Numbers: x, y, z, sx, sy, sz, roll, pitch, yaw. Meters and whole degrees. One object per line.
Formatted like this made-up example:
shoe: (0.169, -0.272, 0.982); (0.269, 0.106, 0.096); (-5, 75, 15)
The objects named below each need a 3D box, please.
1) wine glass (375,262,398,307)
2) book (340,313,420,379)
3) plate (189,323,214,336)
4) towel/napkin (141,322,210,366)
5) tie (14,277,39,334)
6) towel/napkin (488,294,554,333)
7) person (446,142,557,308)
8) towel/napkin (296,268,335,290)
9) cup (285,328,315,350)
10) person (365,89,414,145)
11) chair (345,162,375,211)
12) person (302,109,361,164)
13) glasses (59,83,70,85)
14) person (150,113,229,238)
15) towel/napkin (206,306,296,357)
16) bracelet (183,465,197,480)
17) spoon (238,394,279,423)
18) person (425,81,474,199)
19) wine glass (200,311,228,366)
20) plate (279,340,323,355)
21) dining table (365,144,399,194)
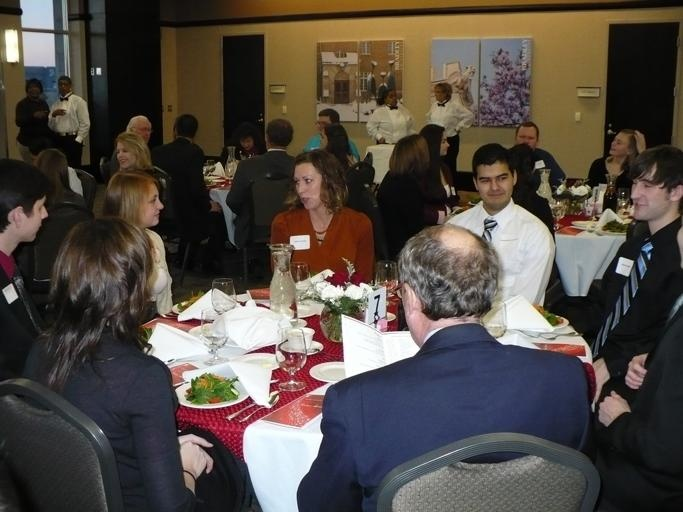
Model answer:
wine glass: (0.197, 0.106, 2.370); (0.104, 0.197, 0.114); (3, 21, 16)
book: (0.097, 0.297, 1.754); (0.276, 0.200, 0.067); (3, -28, -24)
plate: (-0.534, 0.281, 2.037); (0.056, 0.023, 0.061); (5, 20, 10)
towel/napkin: (-0.612, 0.327, 1.996); (0.153, 0.051, 0.163); (17, 46, 5)
tie: (-1.307, 0.205, 2.228); (0.054, 0.046, 0.410); (-8, 54, -30)
towel/napkin: (0.772, 0.190, 2.279); (0.207, 0.064, 0.216); (-8, 22, -35)
person: (0.857, -0.103, 3.088); (0.541, 1.031, 0.656); (-21, 26, -39)
towel/napkin: (-0.134, 0.112, 2.501); (0.095, 0.044, 0.115); (-26, -2, -2)
cup: (-0.144, 0.284, 1.953); (0.084, 0.062, 0.090); (0, 12, 0)
person: (0.883, -2.279, 9.428); (0.763, 1.248, 0.514); (-10, 15, -24)
chair: (0.143, -0.586, 4.567); (0.267, 0.420, 0.125); (9, -22, -27)
person: (-0.249, -1.532, 7.394); (0.758, 0.791, 0.453); (-3, 12, -4)
glasses: (-4.922, -3.020, 9.520); (0.141, 0.041, 0.062); (-6, 18, -28)
person: (-1.641, -0.504, 5.906); (0.792, 2.008, 0.734); (-3, 22, -15)
towel/napkin: (-0.341, 0.274, 2.064); (0.178, 0.065, 0.189); (9, 21, 27)
bracelet: (-0.456, 0.653, 1.622); (0.012, 0.049, 0.051); (-46, 12, -4)
spoon: (-0.250, 0.463, 1.698); (0.038, 0.038, 0.198); (-14, 4, 30)
person: (1.939, -2.044, 9.624); (0.875, 2.037, 0.545); (9, 30, 34)
wine glass: (-0.465, 0.303, 1.945); (0.105, 0.188, 0.100); (-16, 27, -37)
plate: (-0.143, 0.309, 1.807); (0.081, 0.015, 0.086); (-8, 22, -13)
dining table: (0.624, -1.420, 8.976); (0.595, 0.777, 0.639); (-9, 17, -27)
